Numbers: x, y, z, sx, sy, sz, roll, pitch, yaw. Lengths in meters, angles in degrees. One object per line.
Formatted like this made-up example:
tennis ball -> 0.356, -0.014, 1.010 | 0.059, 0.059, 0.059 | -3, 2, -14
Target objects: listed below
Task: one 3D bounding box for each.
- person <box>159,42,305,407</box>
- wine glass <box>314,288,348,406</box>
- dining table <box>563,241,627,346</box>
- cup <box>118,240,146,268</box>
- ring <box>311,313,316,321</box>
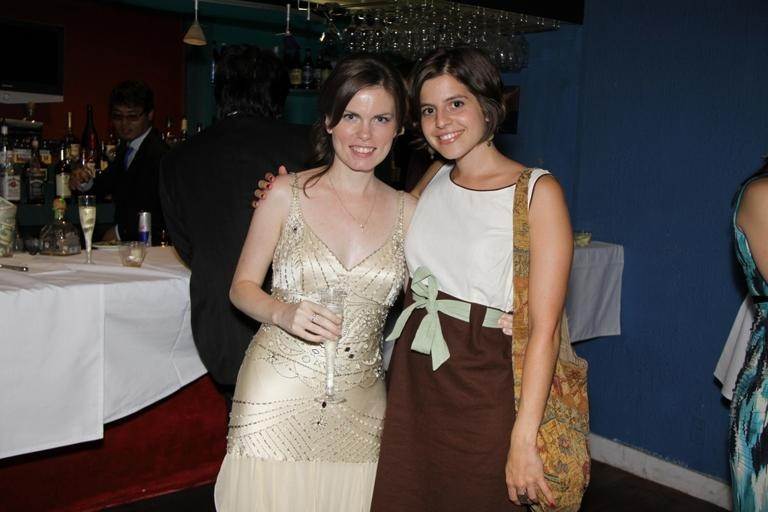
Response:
person -> -0.824, -0.133, 3.500 | 0.763, 1.941, 0.642 | 3, 18, -23
wine glass -> -0.211, 0.373, 2.545 | 0.100, 0.525, 0.160 | 1, 10, -4
dining table -> 1.414, 0.231, 4.229 | 0.474, 0.699, 0.670 | 0, 4, 6
cup -> -1.364, -0.010, 3.405 | 0.124, 0.142, 0.127 | 0, -5, 0
ring -> -0.278, 0.236, 2.467 | 0.016, 0.027, 0.025 | 4, -11, 2
